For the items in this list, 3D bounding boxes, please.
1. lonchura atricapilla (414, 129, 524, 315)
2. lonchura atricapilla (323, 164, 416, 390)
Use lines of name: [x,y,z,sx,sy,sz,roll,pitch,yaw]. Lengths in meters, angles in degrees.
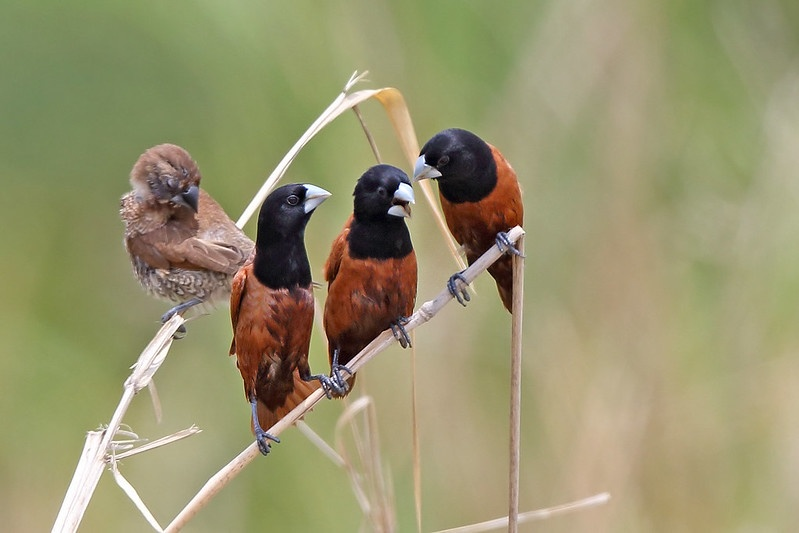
lonchura atricapilla: [0.562,-0.272,6.207,0.599,1.109,1.476,1,-29,3]
lonchura atricapilla: [-0.191,0.157,5.909,0.640,0.682,1.592,-2,-47,-1]
